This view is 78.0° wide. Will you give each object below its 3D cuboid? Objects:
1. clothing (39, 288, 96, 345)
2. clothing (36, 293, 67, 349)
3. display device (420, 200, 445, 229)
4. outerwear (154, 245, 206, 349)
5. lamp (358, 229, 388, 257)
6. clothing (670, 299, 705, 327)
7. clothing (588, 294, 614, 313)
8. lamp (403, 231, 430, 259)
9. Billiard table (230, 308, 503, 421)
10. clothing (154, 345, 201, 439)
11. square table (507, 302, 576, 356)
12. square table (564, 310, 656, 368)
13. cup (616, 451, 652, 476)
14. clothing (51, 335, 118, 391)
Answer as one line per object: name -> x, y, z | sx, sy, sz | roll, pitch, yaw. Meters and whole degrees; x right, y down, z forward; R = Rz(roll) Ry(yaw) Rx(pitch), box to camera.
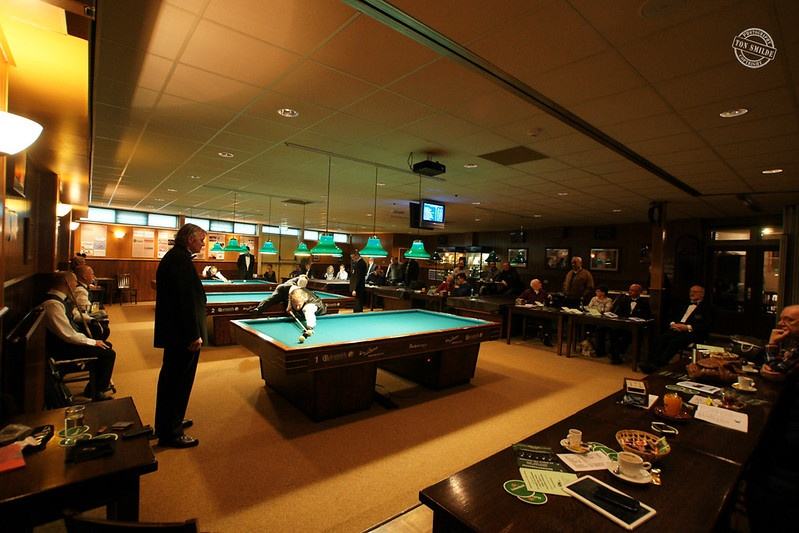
clothing -> -3.970, 0.626, 6.085 | 0.661, 0.732, 1.105 | -7, 5, -28
clothing -> -4.024, 0.664, 5.750 | 0.250, 0.666, 0.300 | 0, 4, -35
display device -> 0.618, -0.992, 9.443 | 0.375, 0.531, 0.745 | 3, 2, 42
outerwear -> -2.253, 0.318, 5.119 | 0.479, 1.071, 0.298 | 1, 4, -23
lamp -> -0.405, -0.381, 7.913 | 0.597, 0.392, 0.538 | 1, -3, -4
clothing -> 4.867, 0.754, 8.231 | 0.150, 0.537, 0.406 | 27, 12, -15
clothing -> 3.629, 0.687, 8.910 | 0.177, 0.275, 0.308 | 33, -18, -24
lamp -> 0.367, -0.346, 8.543 | 0.714, 0.428, 0.643 | 1, -4, -5
Billiard table -> -0.449, 1.255, 6.731 | 3.252, 1.035, 1.879 | 1, 3, -37
clothing -> -2.332, 1.343, 5.189 | 0.392, 1.010, 0.229 | 1, 4, -23
square table -> 2.567, 1.198, 9.385 | 1.024, 0.635, 0.753 | 3, -18, 19
square table -> 3.599, 1.217, 8.589 | 1.367, 0.830, 1.359 | 4, 3, 39
cup -> 1.724, 1.474, 3.655 | 0.148, 0.095, 0.210 | 10, -6, -39
clothing -> -3.916, 1.038, 6.108 | 0.707, 0.605, 1.028 | 3, 0, -31
